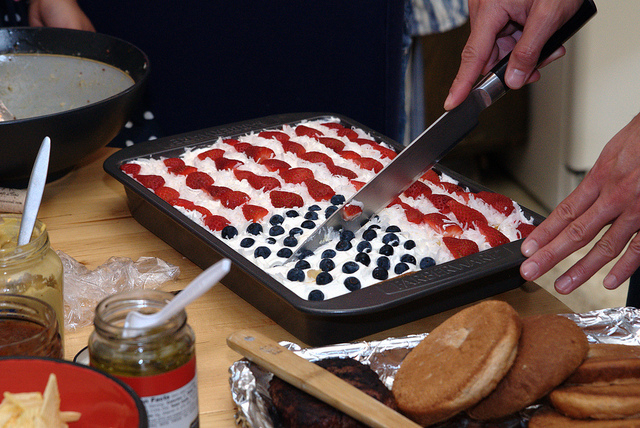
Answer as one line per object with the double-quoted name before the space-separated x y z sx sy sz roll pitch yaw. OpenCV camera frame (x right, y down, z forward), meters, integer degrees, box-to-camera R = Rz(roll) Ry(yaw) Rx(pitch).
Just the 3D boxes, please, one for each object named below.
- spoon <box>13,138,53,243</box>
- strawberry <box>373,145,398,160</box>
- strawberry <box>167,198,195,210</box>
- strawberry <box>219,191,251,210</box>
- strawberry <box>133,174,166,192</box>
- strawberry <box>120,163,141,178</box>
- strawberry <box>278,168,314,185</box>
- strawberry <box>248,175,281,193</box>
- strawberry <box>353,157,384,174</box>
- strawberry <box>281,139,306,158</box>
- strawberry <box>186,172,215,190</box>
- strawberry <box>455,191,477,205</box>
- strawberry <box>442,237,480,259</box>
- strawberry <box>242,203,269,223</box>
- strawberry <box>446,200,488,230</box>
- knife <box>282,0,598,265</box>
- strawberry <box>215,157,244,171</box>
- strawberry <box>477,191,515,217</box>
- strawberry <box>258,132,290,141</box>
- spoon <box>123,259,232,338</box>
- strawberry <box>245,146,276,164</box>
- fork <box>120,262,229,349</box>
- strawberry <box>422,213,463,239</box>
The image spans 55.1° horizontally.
"spoon" -0.609 -0.039 1.306 0.040 0.306 0.023 12 -2 -21
"strawberry" 0.235 -0.220 2.167 0.044 0.017 0.072 -16 39 -42
"strawberry" -0.441 -0.033 1.948 0.082 0.021 0.068 4 33 -5
"strawberry" -0.278 -0.051 1.977 0.091 0.025 0.085 31 40 32
"strawberry" -0.548 -0.110 1.999 0.085 0.018 0.051 18 38 7
"strawberry" -0.622 -0.151 2.036 0.073 0.019 0.054 23 36 22
"strawberry" -0.080 -0.132 2.089 0.069 0.018 0.066 -5 29 -8
"strawberry" -0.190 -0.104 2.051 0.118 0.021 0.077 13 34 9
"strawberry" 0.170 -0.181 2.146 0.051 0.021 0.085 -30 39 -34
"strawberry" -0.099 -0.239 2.229 0.070 0.021 0.056 11 19 25
"strawberry" -0.402 -0.112 2.060 0.087 0.033 0.074 23 36 22
"strawberry" 0.472 -0.055 1.942 0.033 0.016 0.047 -19 34 -30
"strawberry" 0.401 0.090 1.744 0.061 0.017 0.062 -5 17 -18
"strawberry" -0.211 -0.006 1.911 0.082 0.021 0.069 18 35 15
"strawberry" 0.447 -0.007 1.869 0.059 0.038 0.104 -14 36 -34
"knife" 0.463 -0.365 2.427 0.232 1.943 0.148 43 7 -36
"strawberry" -0.321 -0.171 2.120 0.078 0.026 0.046 0 -9 -6
"strawberry" 0.551 -0.039 1.889 0.087 0.021 0.056 32 53 27
"strawberry" -0.165 -0.294 2.292 0.082 0.025 0.045 3 8 5
"spoon" -0.315 0.192 1.372 0.059 0.261 0.039 35 21 -35
"strawberry" -0.208 -0.222 2.186 0.066 0.036 0.072 22 28 38
"fork" -0.312 0.203 1.334 0.066 0.315 0.046 49 15 -13
"strawberry" 0.390 0.038 1.883 0.120 0.040 0.070 -4 14 -36
